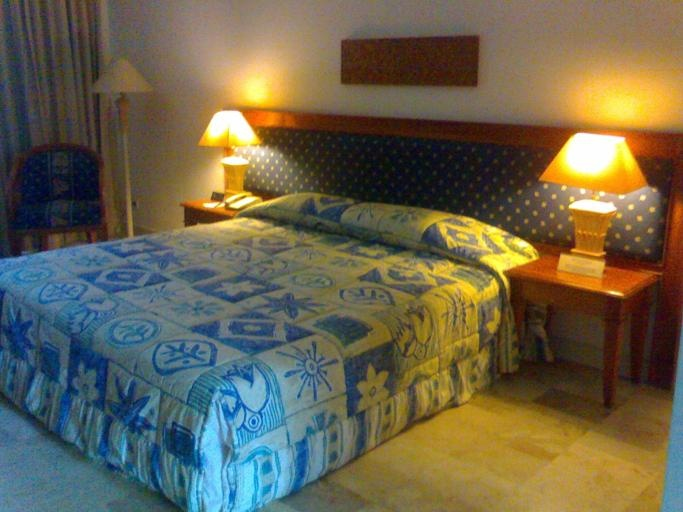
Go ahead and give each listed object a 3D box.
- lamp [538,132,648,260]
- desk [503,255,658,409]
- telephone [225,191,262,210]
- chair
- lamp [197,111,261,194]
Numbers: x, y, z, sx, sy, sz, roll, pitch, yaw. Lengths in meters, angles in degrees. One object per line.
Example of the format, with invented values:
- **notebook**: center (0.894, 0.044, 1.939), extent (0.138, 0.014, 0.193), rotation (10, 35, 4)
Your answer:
- **lamp**: center (1.449, -0.320, 3.261), extent (0.561, 0.624, 0.540), rotation (7, 1, 5)
- **desk**: center (1.398, 0.430, 3.365), extent (0.756, 0.713, 0.651), rotation (3, 9, 35)
- **telephone**: center (-0.817, -0.478, 4.801), extent (0.234, 0.084, 0.169), rotation (-17, 26, -41)
- **chair**: center (-2.553, -0.512, 4.960), extent (0.938, 1.308, 0.698), rotation (-5, 13, -33)
- **lamp**: center (-0.935, -0.887, 4.890), extent (0.435, 0.718, 0.434), rotation (6, 14, 18)
